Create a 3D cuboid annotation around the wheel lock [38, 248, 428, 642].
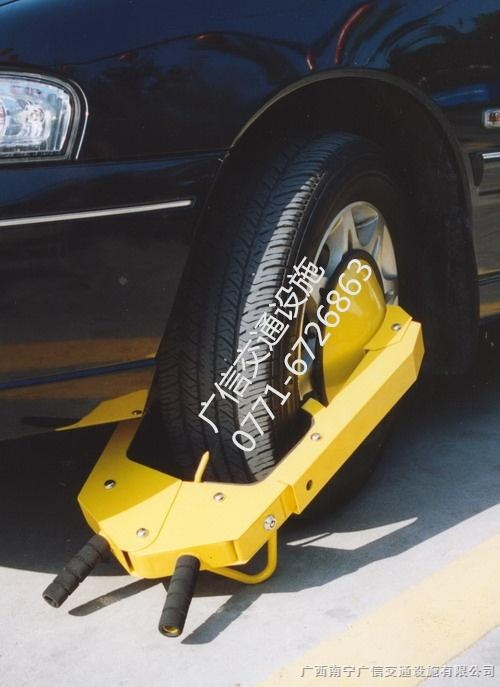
[{"bbox_3d":[0.047,0.196,1.399,0.610,0.160,0.901,22,53,21],"label":"wheel lock"}]
